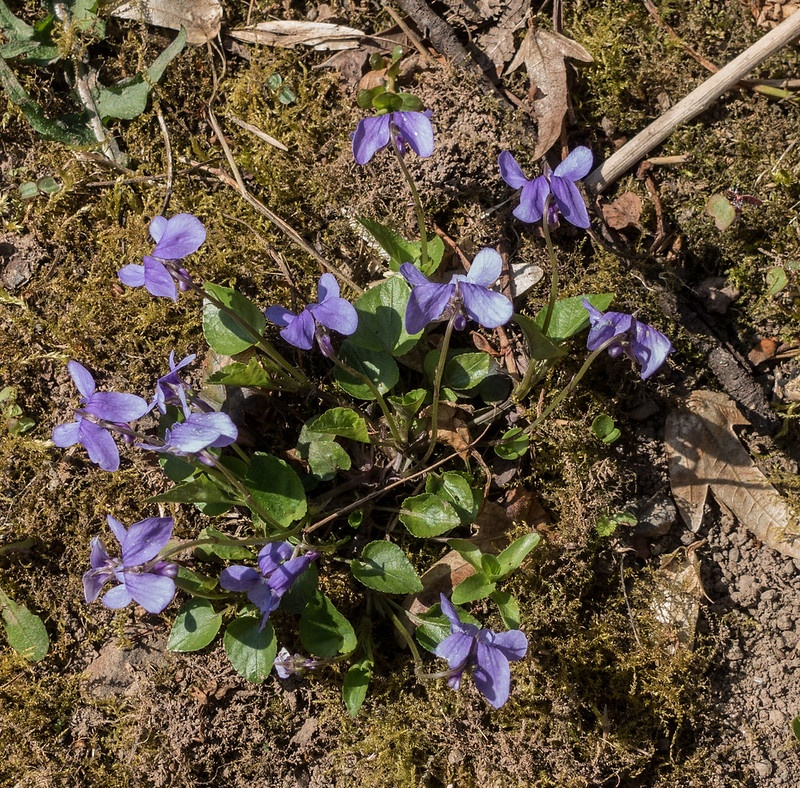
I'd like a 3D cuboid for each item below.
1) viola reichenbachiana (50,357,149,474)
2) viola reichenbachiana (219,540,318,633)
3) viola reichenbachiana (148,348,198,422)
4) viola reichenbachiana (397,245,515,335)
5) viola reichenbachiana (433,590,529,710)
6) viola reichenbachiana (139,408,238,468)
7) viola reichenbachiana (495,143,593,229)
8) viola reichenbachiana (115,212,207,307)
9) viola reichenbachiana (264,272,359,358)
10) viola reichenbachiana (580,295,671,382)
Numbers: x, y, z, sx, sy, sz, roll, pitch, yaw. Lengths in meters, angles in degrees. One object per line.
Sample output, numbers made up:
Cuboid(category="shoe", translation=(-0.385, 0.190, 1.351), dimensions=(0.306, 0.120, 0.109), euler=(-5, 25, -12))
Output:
Cuboid(category="viola reichenbachiana", translation=(-0.866, 0.088, 2.598), dimensions=(0.263, 0.250, 0.218), euler=(30, 61, 3))
Cuboid(category="viola reichenbachiana", translation=(-0.407, 0.556, 2.799), dimensions=(0.183, 0.325, 0.268), euler=(36, 62, 6))
Cuboid(category="viola reichenbachiana", translation=(-0.722, -0.026, 2.947), dimensions=(0.114, 0.189, 0.193), euler=(14, 73, -3))
Cuboid(category="viola reichenbachiana", translation=(0.134, -0.271, 2.389), dimensions=(0.288, 0.266, 0.102), euler=(21, 69, -23))
Cuboid(category="viola reichenbachiana", translation=(0.238, 0.704, 2.556), dimensions=(0.254, 0.316, 0.149), euler=(3, 91, -1))
Cuboid(category="viola reichenbachiana", translation=(-0.541, 0.097, 2.429), dimensions=(0.080, 0.165, 0.170), euler=(52, 51, -8))
Cuboid(category="viola reichenbachiana", translation=(0.410, -0.581, 2.557), dimensions=(0.259, 0.167, 0.179), euler=(-1, 64, -14))
Cuboid(category="viola reichenbachiana", translation=(-0.642, -0.389, 2.686), dimensions=(0.258, 0.079, 0.259), euler=(-36, 71, 17))
Cuboid(category="viola reichenbachiana", translation=(-0.232, -0.216, 2.571), dimensions=(0.280, 0.318, 0.130), euler=(8, 62, -44))
Cuboid(category="viola reichenbachiana", translation=(0.692, -0.186, 2.678), dimensions=(0.309, 0.301, 0.138), euler=(3, 81, 33))
